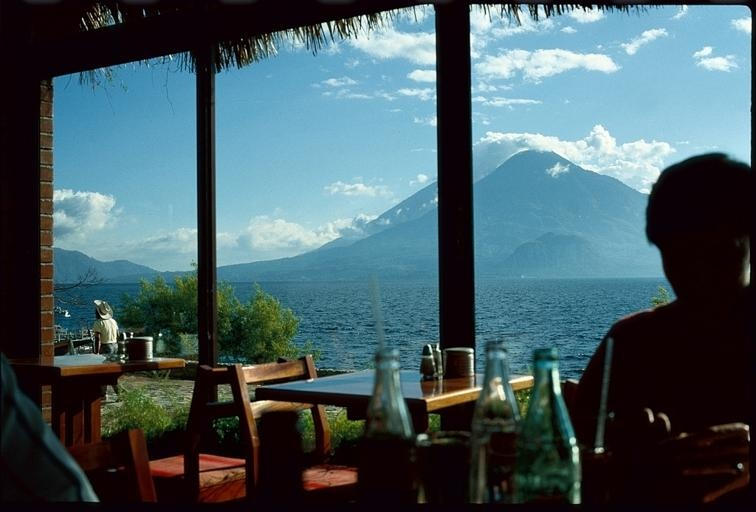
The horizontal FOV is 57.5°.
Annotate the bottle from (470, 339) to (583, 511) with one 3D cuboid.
[{"bbox_3d":[0.275,0.314,1.297,0.207,0.290,0.153,-3,-1,10],"label":"bottle"}]

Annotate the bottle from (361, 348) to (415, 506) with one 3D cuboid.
[{"bbox_3d":[0.015,0.311,1.295,0.111,0.247,0.086,-3,-1,2],"label":"bottle"}]

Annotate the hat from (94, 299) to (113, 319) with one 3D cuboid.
[{"bbox_3d":[-1.968,0.382,4.936,0.053,0.144,0.122,-20,-10,25],"label":"hat"}]

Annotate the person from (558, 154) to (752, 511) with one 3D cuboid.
[{"bbox_3d":[0.648,0.106,1.542,0.433,0.846,0.554,-3,-1,17],"label":"person"}]

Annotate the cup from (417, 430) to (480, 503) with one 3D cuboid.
[{"bbox_3d":[0.121,0.382,1.284,0.105,0.126,0.108,0,-4,0],"label":"cup"}]
